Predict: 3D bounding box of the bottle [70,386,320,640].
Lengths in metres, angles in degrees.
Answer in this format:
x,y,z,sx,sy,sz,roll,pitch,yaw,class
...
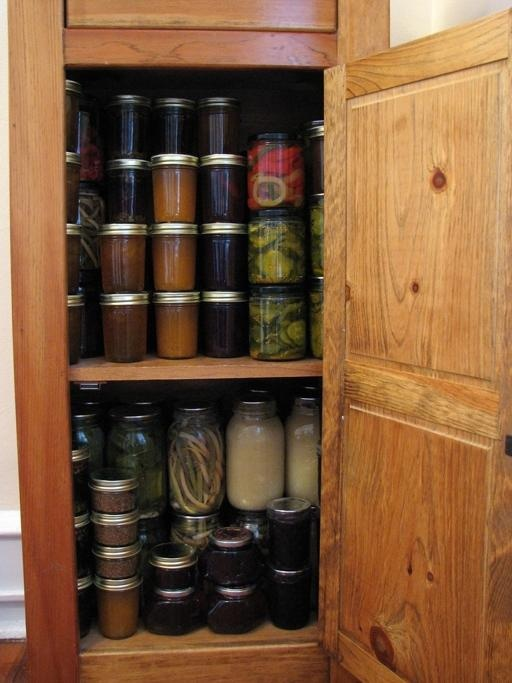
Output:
x,y,z,sx,sy,sz,roll,pitch,yaw,class
-0.121,0.362,1.295,0.465,0.438,0.254,0,3,1,bottle
